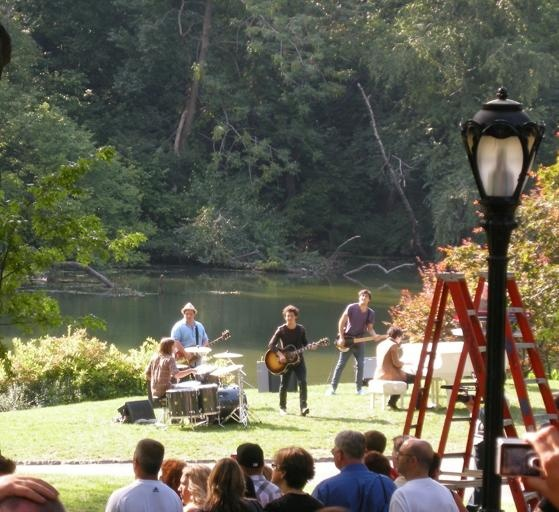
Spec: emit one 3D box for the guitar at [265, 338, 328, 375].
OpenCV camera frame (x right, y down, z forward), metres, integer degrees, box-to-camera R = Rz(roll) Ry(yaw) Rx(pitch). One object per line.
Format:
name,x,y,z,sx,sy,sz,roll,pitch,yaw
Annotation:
guitar,0.510,2.819,45.350,2.010,0.883,0.311,-18,1,-10

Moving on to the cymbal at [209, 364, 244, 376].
cymbal,-1.597,3.368,46.157,0.682,0.204,0.731,-3,-7,1

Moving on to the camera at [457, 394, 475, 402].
camera,4.856,3.695,40.825,0.376,0.283,0.090,-26,9,46

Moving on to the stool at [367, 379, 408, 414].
stool,3.069,4.062,45.156,0.902,0.922,0.924,2,-6,-13

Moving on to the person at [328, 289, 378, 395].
person,2.263,2.407,46.774,1.241,3.314,1.177,1,6,-1

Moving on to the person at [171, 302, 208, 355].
person,-2.558,2.609,45.674,1.055,2.290,0.776,-1,-7,-28

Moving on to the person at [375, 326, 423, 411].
person,3.394,3.219,45.241,1.171,2.329,1.076,7,6,23
